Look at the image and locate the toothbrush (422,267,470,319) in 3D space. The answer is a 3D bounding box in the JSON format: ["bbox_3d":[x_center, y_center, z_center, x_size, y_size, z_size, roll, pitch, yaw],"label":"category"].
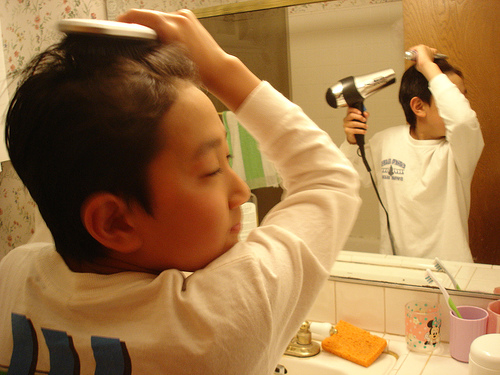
[{"bbox_3d":[0.525,0.285,1.220,0.026,0.140,0.020,-28,-3,34],"label":"toothbrush"}]

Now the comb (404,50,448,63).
[{"bbox_3d":[0.458,-0.356,1.229,0.127,0.039,0.035,11,20,15],"label":"comb"}]

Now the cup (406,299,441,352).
[{"bbox_3d":[0.444,0.358,1.181,0.085,0.127,0.090,-2,16,0],"label":"cup"}]

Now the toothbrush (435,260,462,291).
[{"bbox_3d":[0.538,0.238,1.237,0.018,0.104,0.011,-45,19,-19],"label":"toothbrush"}]

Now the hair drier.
[{"bbox_3d":[0.318,-0.179,1.287,0.172,0.258,0.080,-3,0,21],"label":"hair drier"}]

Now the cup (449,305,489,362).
[{"bbox_3d":[0.549,0.350,1.155,0.079,0.139,0.091,-3,0,30],"label":"cup"}]
